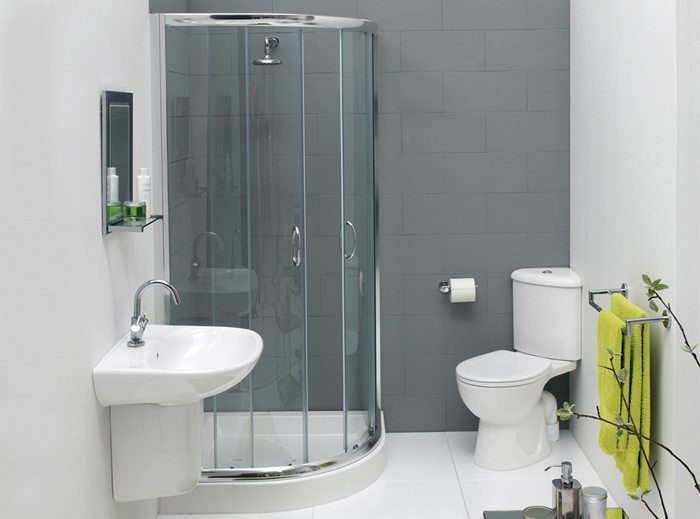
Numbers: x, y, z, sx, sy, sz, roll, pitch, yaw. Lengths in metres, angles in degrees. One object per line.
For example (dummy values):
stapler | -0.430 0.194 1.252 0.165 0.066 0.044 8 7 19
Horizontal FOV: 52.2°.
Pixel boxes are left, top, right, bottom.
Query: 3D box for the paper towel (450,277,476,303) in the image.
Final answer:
paper towel | 0.644 0.173 4.089 0.156 0.158 0.122 0 9 2

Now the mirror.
mirror | -1.003 -0.438 2.987 0.021 0.580 0.470 6 13 -23

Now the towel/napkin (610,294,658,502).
towel/napkin | 1.227 0.619 3.100 0.149 0.854 0.371 0 11 22

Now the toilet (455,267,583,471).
toilet | 0.943 0.595 4.013 0.819 1.063 0.462 -7 11 -36

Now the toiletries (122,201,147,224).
toiletries | -0.891 -0.192 2.950 0.077 0.087 0.083 1 5 -2

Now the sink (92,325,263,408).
sink | -0.702 0.416 2.848 0.370 0.124 0.398 1 12 -2

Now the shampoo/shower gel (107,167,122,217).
shampoo/shower gel | -0.960 -0.270 2.887 0.022 0.202 0.093 -2 11 15
